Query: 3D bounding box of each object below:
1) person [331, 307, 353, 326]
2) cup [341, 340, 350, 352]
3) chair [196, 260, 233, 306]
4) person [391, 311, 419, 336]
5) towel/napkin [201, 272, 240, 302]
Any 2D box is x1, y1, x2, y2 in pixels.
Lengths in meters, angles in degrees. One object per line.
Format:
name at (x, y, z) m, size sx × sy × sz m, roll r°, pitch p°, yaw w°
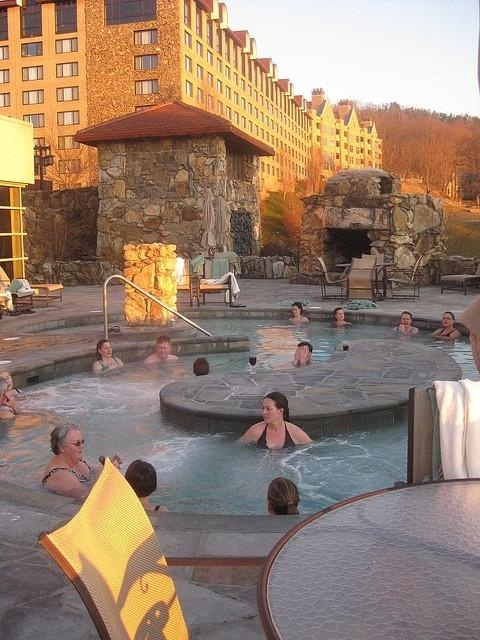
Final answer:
person at (2.511, -0.097, 12.879) m, size 0.477 × 0.475 × 0.847 m, roll 0°, pitch 9°, yaw 11°
cup at (1.806, 0.452, 8.793) m, size 0.168 × 0.184 × 0.142 m, roll -1°, pitch 5°, yaw -8°
chair at (-0.742, -1.289, 16.573) m, size 1.115 × 1.418 × 1.138 m, roll -7°, pitch 16°, yaw -20°
person at (3.719, 0.118, 11.744) m, size 0.735 × 0.651 × 0.477 m, roll 0°, pitch 1°, yaw 18°
towel/napkin at (-0.562, -1.016, 15.315) m, size 1.014 × 0.524 × 0.970 m, roll 1°, pitch 7°, yaw 7°
